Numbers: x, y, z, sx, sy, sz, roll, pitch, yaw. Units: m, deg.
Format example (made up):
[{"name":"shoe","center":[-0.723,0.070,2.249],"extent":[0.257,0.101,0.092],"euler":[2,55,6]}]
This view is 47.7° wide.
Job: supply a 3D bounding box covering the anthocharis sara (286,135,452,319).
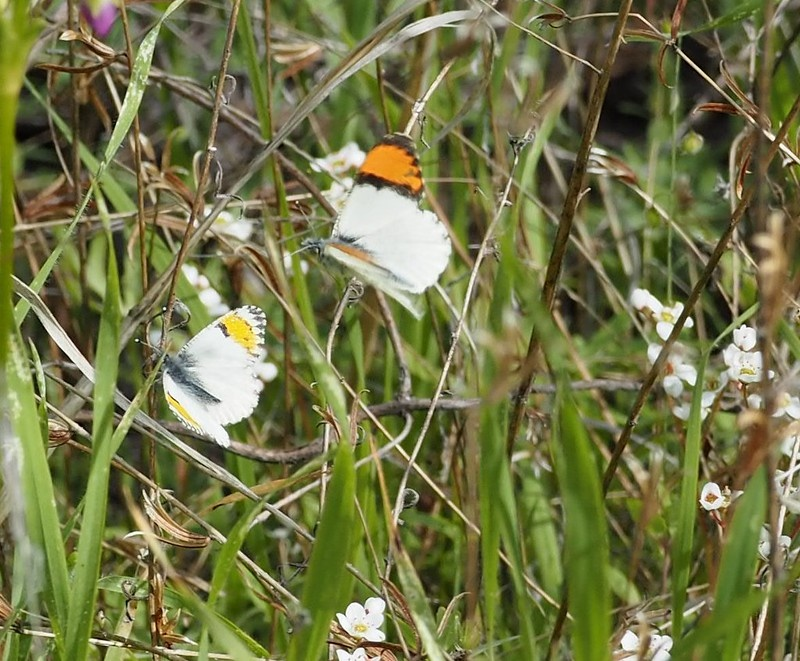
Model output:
[{"name":"anthocharis sara","center":[-0.045,-0.141,1.840],"extent":[0.299,0.173,0.356],"euler":[45,49,-14]}]
